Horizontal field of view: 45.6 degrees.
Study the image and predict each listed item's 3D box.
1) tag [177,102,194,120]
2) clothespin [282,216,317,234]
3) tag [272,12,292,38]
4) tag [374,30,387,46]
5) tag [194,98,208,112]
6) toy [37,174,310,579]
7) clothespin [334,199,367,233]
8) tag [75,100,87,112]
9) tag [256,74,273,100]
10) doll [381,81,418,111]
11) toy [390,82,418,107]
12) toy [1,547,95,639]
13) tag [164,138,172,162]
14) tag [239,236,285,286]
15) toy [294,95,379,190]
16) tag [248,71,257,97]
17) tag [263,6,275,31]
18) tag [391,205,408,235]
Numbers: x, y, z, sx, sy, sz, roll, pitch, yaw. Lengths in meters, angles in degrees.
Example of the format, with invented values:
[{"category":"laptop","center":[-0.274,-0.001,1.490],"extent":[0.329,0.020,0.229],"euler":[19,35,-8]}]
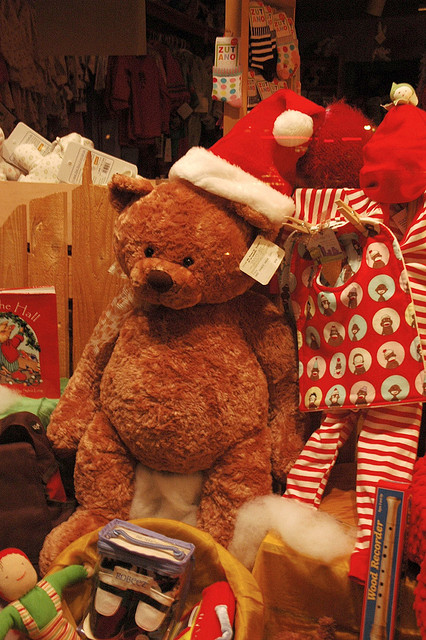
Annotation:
[{"category":"tag","center":[-0.170,-1.362,3.283],"extent":[0.085,0.090,0.021],"euler":[-48,24,-11]},{"category":"clothespin","center":[0.147,-0.165,0.887],"extent":[0.082,0.026,0.013],"euler":[13,-12,-31]},{"category":"tag","center":[0.169,-0.727,1.246],"extent":[0.046,0.058,0.018],"euler":[-5,11,14]},{"category":"tag","center":[0.306,-0.519,0.928],"extent":[0.018,0.020,0.003],"euler":[30,-13,8]},{"category":"tag","center":[-0.069,-1.415,3.341],"extent":[0.086,0.080,0.020],"euler":[18,10,12]},{"category":"toy","center":[-0.069,0.061,0.921],"extent":[0.524,0.615,0.388],"euler":[-3,24,-3]},{"category":"clothespin","center":[0.228,-0.171,0.838],"extent":[0.051,0.055,0.035],"euler":[5,25,15]},{"category":"tag","center":[-0.821,-1.351,3.185],"extent":[0.088,0.082,0.011],"euler":[0,-22,-3]},{"category":"tag","center":[0.131,-0.593,1.284],"extent":[0.038,0.057,0.051],"euler":[8,25,20]},{"category":"doll","center":[0.303,-0.369,0.827],"extent":[0.038,0.048,0.041],"euler":[0,-10,-2]},{"category":"toy","center":[0.316,-0.369,0.829],"extent":[0.044,0.037,0.056],"euler":[0,23,2]},{"category":"toy","center":[-0.229,0.392,0.717],"extent":[0.093,0.112,0.026],"euler":[-48,15,-31]},{"category":"tag","center":[-0.292,-1.147,3.412],"extent":[0.036,0.152,0.073],"euler":[16,29,35]},{"category":"tag","center":[0.086,-0.105,0.881],"extent":[0.045,0.074,0.080],"euler":[15,28,32]},{"category":"toy","center":[0.239,-0.323,0.935],"extent":[0.120,0.143,0.134],"euler":[15,29,33]},{"category":"tag","center":[0.097,-0.586,1.259],"extent":[0.034,0.054,0.013],"euler":[-8,9,-28]},{"category":"tag","center":[0.139,-0.743,1.242],"extent":[0.032,0.053,0.013],"euler":[-20,10,-28]},{"category":"tag","center":[0.316,-0.169,0.853],"extent":[0.033,0.033,0.008],"euler":[-43,21,-21]}]
